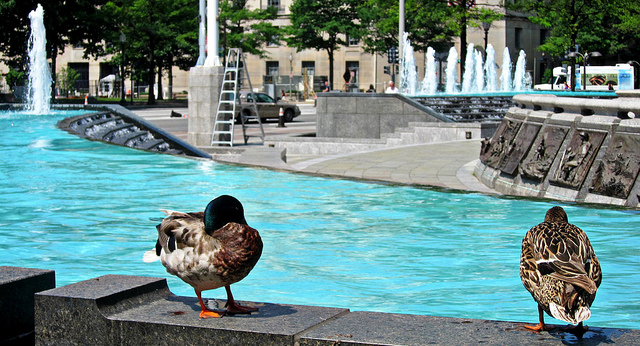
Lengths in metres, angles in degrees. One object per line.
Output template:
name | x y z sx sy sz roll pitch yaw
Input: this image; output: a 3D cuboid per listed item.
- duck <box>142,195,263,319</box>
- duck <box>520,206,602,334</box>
duck | -1.740 1.266 11.693 1.658 1.794 0.758 2 14 2
duck | 3.738 1.463 11.626 1.275 1.743 2.376 0 2 9
